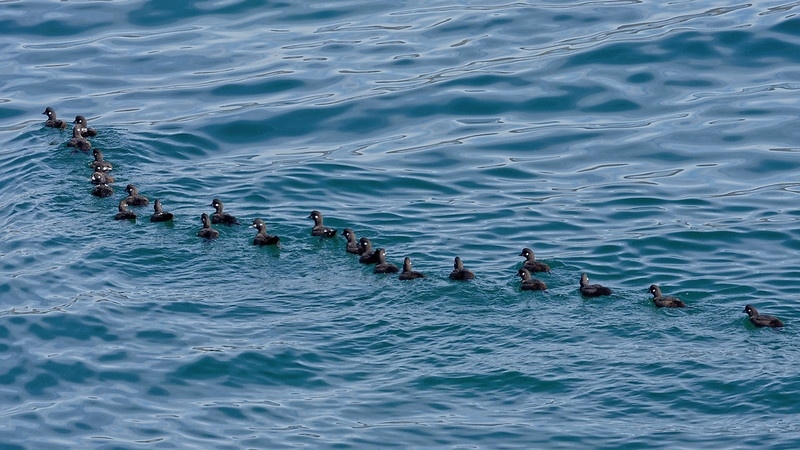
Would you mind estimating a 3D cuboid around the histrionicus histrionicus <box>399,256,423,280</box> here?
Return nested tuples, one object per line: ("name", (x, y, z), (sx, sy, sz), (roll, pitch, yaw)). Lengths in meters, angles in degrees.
("histrionicus histrionicus", (0.358, 1.575, 29.975), (0.869, 0.460, 0.746), (-10, 42, -1))

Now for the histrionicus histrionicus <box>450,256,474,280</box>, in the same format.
("histrionicus histrionicus", (2.095, 1.495, 29.852), (0.988, 0.392, 0.983), (-4, 22, -7))

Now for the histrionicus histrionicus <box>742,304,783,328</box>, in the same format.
("histrionicus histrionicus", (11.392, 2.908, 27.652), (0.961, 0.598, 0.827), (-16, 44, -7))

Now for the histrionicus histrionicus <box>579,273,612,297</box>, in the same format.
("histrionicus histrionicus", (6.472, 2.060, 29.173), (1.040, 0.543, 0.767), (-2, 43, 6))
